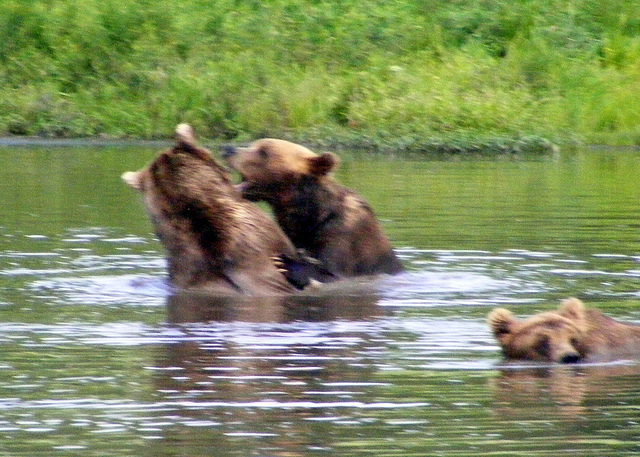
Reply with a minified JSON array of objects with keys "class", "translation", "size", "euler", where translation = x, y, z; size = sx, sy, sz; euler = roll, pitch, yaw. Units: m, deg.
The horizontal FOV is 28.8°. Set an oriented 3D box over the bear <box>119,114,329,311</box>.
[{"class":"bear","translation":[-0.841,-0.094,10.775],"size":[1.643,1.591,0.710],"euler":[-3,6,-6]}]
